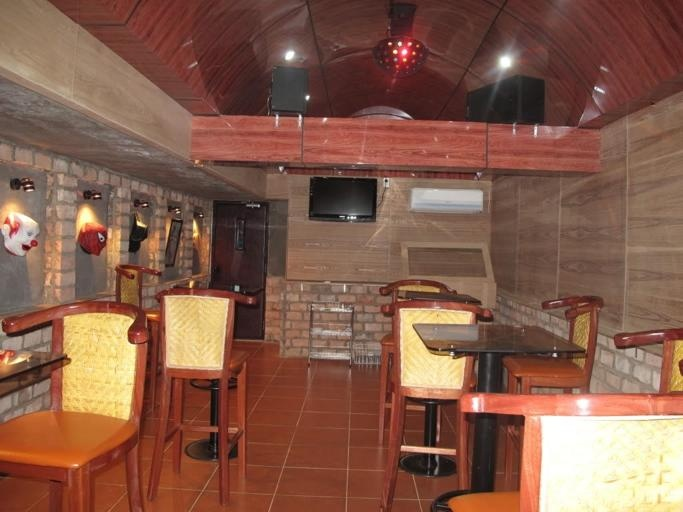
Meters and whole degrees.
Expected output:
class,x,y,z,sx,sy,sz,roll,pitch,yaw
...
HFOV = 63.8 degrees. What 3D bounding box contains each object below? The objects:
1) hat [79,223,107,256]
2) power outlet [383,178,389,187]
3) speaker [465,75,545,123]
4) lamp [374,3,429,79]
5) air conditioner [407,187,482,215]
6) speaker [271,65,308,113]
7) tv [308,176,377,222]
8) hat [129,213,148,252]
class,x,y,z,sx,sy,sz,roll,pitch,yaw
hat,-2.311,-0.149,5.092,0.191,0.312,0.287,2,5,-3
power outlet,0.624,-1.003,7.472,0.084,0.129,0.057,2,5,-1
speaker,1.512,-1.314,4.554,0.848,0.438,0.417,-7,13,-21
lamp,0.443,-1.529,3.930,0.308,0.334,0.282,1,24,0
air conditioner,1.443,-0.752,7.389,0.948,0.340,0.162,3,5,12
speaker,-0.403,-1.310,4.294,0.304,0.319,0.170,1,5,-6
tv,0.045,-0.774,7.297,0.728,0.407,0.066,1,0,5
hat,-2.240,-0.253,6.072,0.128,0.440,0.381,2,5,-6
